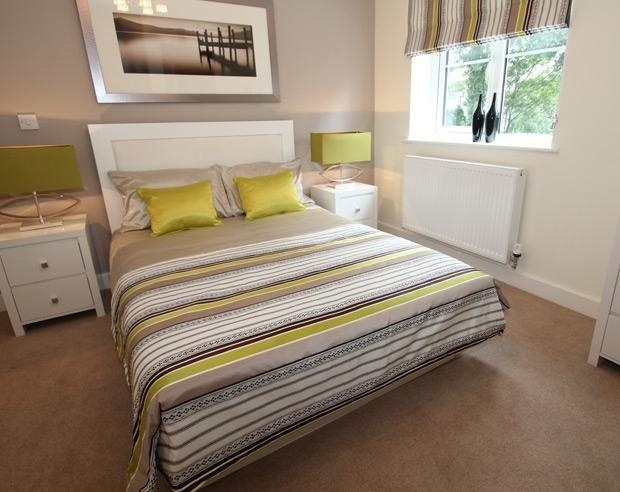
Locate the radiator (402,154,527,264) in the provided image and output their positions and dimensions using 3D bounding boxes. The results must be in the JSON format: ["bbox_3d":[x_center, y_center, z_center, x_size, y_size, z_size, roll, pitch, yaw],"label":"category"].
[{"bbox_3d":[1.260,-0.306,3.276,0.082,0.592,0.834,-13,25,-28],"label":"radiator"}]

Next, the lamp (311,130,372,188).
[{"bbox_3d":[0.270,-0.843,3.933,0.548,0.476,0.179,-11,27,-21],"label":"lamp"}]

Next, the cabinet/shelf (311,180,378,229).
[{"bbox_3d":[0.334,-0.471,3.996,0.478,0.670,0.455,-18,29,-31],"label":"cabinet/shelf"}]
